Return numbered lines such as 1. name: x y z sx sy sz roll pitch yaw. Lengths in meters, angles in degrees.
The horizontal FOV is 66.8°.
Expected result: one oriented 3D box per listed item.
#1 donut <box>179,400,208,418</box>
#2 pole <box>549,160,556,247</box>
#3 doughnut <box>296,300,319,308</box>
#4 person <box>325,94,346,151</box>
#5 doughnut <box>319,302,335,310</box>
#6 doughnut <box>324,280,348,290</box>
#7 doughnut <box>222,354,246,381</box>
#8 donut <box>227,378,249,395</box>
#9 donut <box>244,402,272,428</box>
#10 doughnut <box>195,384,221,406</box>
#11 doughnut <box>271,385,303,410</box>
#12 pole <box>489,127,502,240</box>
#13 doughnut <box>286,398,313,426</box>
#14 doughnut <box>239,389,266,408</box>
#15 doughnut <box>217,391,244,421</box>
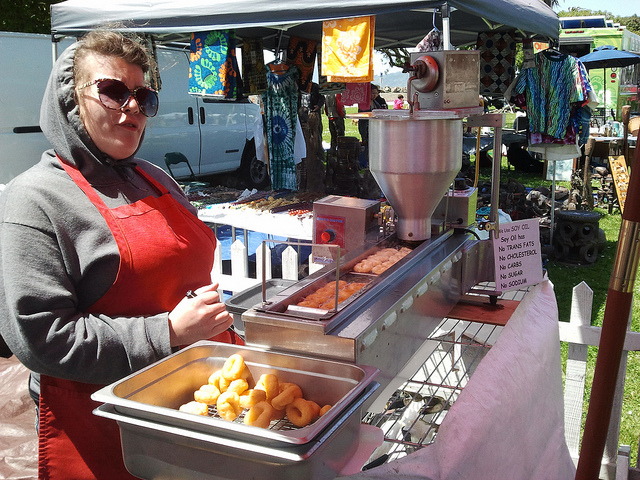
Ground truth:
1. donut: -0.372 0.492 1.405 0.078 0.024 0.079 3 6 -14
2. pole: 3.180 -0.490 6.656 0.043 1.212 0.741 2 11 25
3. doughnut: -0.047 0.234 1.774 0.059 0.012 0.096 -10 12 -37
4. person: 0.265 -2.241 9.220 0.372 1.025 0.997 -3 10 1
5. doughnut: 0.021 0.235 1.728 0.051 0.014 0.064 -4 10 -5
6. doughnut: 0.053 0.179 1.907 0.050 0.018 0.077 2 1 18
7. doughnut: -0.280 0.408 1.543 0.071 0.060 0.065 -12 14 -43
8. donut: -0.255 0.452 1.490 0.048 0.038 0.030 -7 15 -4
9. donut: -0.183 0.509 1.404 0.070 0.050 0.082 1 11 21
10. doughnut: -0.350 0.477 1.489 0.057 0.035 0.057 1 9 -17
11. doughnut: -0.103 0.476 1.464 0.068 0.026 0.069 -39 -10 40
12. pole: 0.895 -0.342 2.488 0.047 0.471 0.250 1 10 20
13. doughnut: -0.066 0.518 1.441 0.067 0.071 0.023 34 10 33
14. doughnut: -0.212 0.474 1.463 0.057 0.020 0.057 -16 10 -16
15. doughnut: -0.271 0.501 1.482 0.084 0.037 0.092 -28 -6 11
